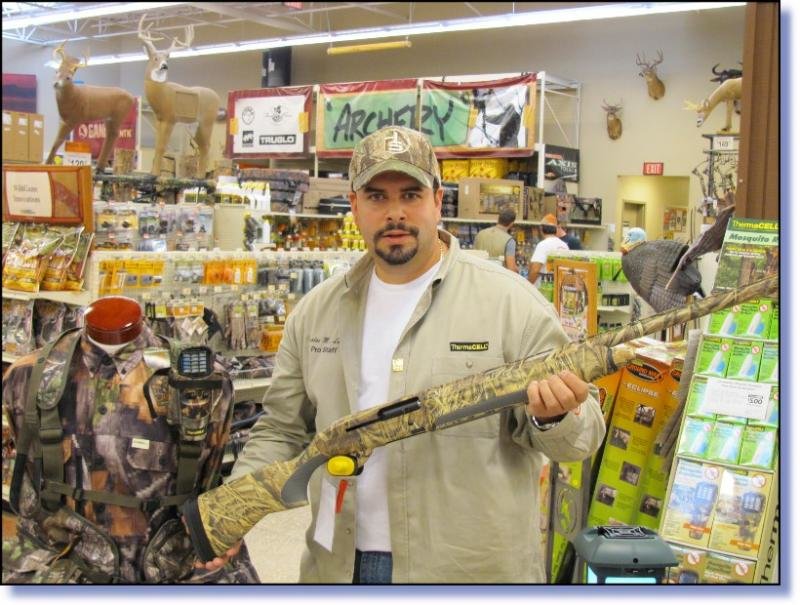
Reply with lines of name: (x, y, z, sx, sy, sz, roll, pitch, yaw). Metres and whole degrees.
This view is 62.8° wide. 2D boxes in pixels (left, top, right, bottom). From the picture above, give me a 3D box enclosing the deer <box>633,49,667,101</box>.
deer: (4.616, -4.096, 11.979, 0.470, 0.896, 0.540, 0, 23, 45)
